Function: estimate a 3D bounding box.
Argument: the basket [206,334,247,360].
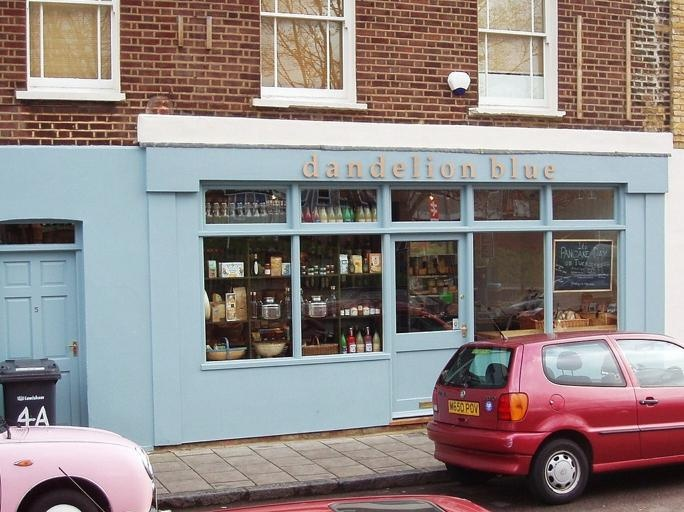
[{"bbox_3d":[-1.776,1.417,12.196,0.616,0.344,0.108,-4,0,-11],"label":"basket"}]

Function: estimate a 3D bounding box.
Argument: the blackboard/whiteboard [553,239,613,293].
[{"bbox_3d":[4.147,0.149,13.780,0.819,0.687,0.030,-1,4,-12],"label":"blackboard/whiteboard"}]

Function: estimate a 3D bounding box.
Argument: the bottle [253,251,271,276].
[{"bbox_3d":[-1.248,0.131,12.349,0.272,0.322,0.064,-3,0,-24],"label":"bottle"}]

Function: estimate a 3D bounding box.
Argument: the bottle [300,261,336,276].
[{"bbox_3d":[-0.406,0.191,12.581,0.666,0.217,0.222,2,-2,-12],"label":"bottle"}]
